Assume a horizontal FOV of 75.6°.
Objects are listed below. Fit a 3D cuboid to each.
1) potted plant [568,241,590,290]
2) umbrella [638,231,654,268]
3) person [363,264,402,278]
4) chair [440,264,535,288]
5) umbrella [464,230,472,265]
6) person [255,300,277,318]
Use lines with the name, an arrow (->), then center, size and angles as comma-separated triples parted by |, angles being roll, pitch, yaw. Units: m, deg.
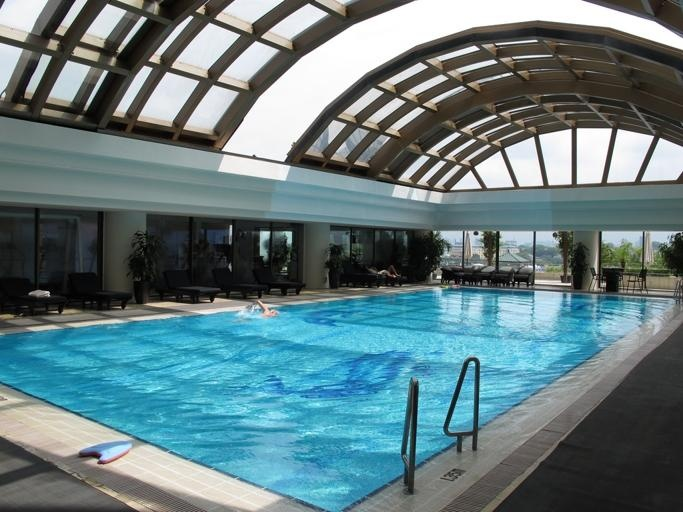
potted plant -> 12.866, 0.497, 23.892 | 0.923, 2.557, 0.646 | 2, 2, 20
umbrella -> 17.316, -0.353, 25.021 | 0.969, 2.052, 0.423 | 1, 2, -19
person -> 2.289, 0.841, 24.044 | 1.384, 0.444, 0.911 | -4, 6, -13
chair -> 8.671, 1.137, 26.142 | 5.019, 1.110, 1.837 | 1, 2, 15
umbrella -> 8.463, -0.533, 29.704 | 0.563, 2.218, 0.520 | 1, 2, 13
person -> -2.525, 1.771, 14.376 | 0.861, 0.396, 0.706 | 8, 15, 2
